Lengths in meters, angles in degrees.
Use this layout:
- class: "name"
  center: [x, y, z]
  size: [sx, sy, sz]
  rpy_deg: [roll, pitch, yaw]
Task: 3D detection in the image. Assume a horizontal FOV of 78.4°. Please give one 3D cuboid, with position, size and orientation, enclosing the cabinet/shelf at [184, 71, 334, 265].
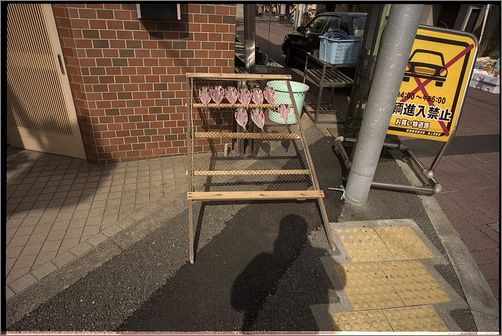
- class: "cabinet/shelf"
  center: [-0.052, -0.198, 5.866]
  size: [2.764, 2.087, 3.295]
  rpy_deg: [-1, 49, -9]

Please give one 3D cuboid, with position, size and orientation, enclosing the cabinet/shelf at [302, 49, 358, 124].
- class: "cabinet/shelf"
  center: [2.168, -2.193, 8.396]
  size: [0.999, 1.784, 2.506]
  rpy_deg: [5, 40, 0]

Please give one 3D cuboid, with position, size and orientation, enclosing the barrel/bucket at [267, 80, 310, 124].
- class: "barrel/bucket"
  center: [0.750, -1.299, 6.659]
  size: [0.907, 0.669, 0.811]
  rpy_deg: [5, -4, 6]
